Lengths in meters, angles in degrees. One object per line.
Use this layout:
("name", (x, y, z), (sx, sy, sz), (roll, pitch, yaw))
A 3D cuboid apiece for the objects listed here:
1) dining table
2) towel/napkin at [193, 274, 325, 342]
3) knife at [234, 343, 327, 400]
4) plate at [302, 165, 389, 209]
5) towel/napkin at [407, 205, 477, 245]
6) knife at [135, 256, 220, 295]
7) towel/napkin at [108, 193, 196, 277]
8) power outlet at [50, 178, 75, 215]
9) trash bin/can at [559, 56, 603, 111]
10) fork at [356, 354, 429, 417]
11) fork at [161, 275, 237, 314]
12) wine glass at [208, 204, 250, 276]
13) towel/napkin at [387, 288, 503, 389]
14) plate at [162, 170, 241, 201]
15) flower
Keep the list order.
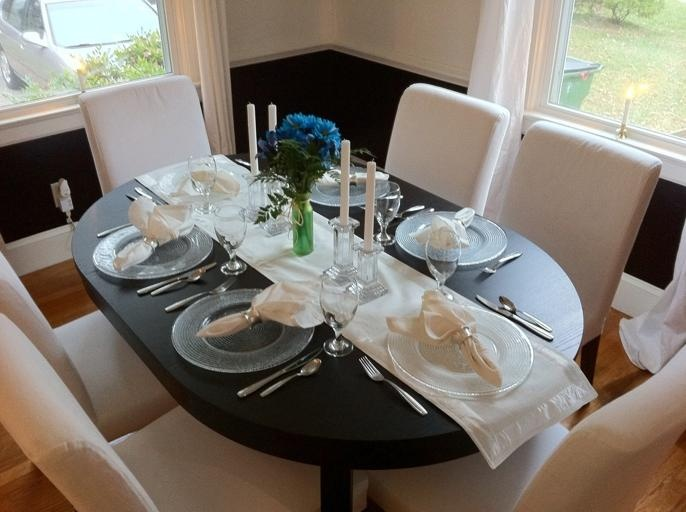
("dining table", (-0.106, 0.350, 1.268), (0.677, 0.354, 1.007), (-31, 53, -26))
("towel/napkin", (-0.199, 0.155, 1.325), (0.255, 0.084, 0.174), (-30, 39, -25))
("knife", (-0.162, 0.303, 1.249), (0.208, 0.012, 0.029), (-28, 50, -35))
("plate", (0.019, -0.273, 1.959), (0.186, 0.022, 0.199), (-12, 36, -19))
("towel/napkin", (0.302, -0.075, 1.472), (0.130, 0.078, 0.191), (-5, 14, 24))
("knife", (-0.536, 0.067, 1.564), (0.191, 0.032, 0.034), (-26, 41, -30))
("towel/napkin", (-0.659, -0.079, 1.668), (0.222, 0.100, 0.227), (-8, 56, -18))
("power outlet", (-1.708, -0.358, 2.967), (0.115, 0.228, 0.092), (-27, 43, -34))
("trash bin/can", (1.308, -0.960, 2.702), (0.210, 0.267, 0.242), (-20, 38, -27))
("fork", (0.127, 0.328, 1.210), (0.027, 0.026, 0.166), (-29, 50, -26))
("fork", (-0.441, 0.122, 1.485), (0.154, 0.024, 0.026), (-34, 49, -27))
("wine glass", (-0.372, -0.043, 1.585), (0.103, 0.234, 0.110), (-12, 40, -16))
("towel/napkin", (0.283, 0.249, 1.273), (0.184, 0.080, 0.225), (-18, 48, -37))
("plate", (-0.550, -0.273, 1.952), (0.173, 0.067, 0.174), (26, 36, 37))
("flower", (-0.141, -0.305, 1.600), (0.242, 0.281, 0.238), (-22, 35, -37))
